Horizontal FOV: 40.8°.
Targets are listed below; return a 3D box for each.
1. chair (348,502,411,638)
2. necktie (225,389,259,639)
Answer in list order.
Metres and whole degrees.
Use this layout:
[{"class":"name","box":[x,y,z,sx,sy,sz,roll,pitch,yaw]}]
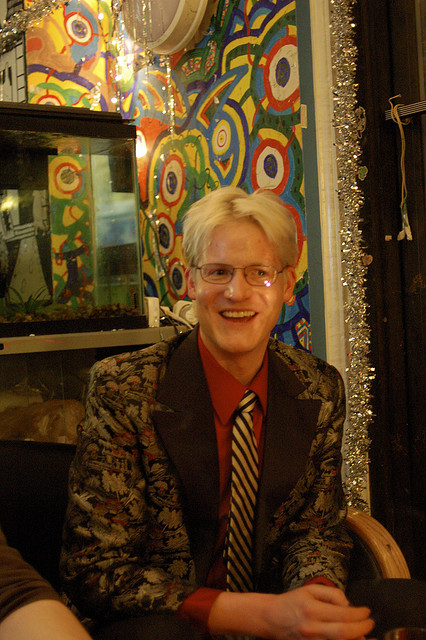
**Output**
[{"class":"chair","box":[0.283,0.439,1.048,0.128,0.150,0.115,1,-3,8]},{"class":"necktie","box":[0.049,0.286,0.947,0.048,0.313,0.124,-1,6,4]}]
